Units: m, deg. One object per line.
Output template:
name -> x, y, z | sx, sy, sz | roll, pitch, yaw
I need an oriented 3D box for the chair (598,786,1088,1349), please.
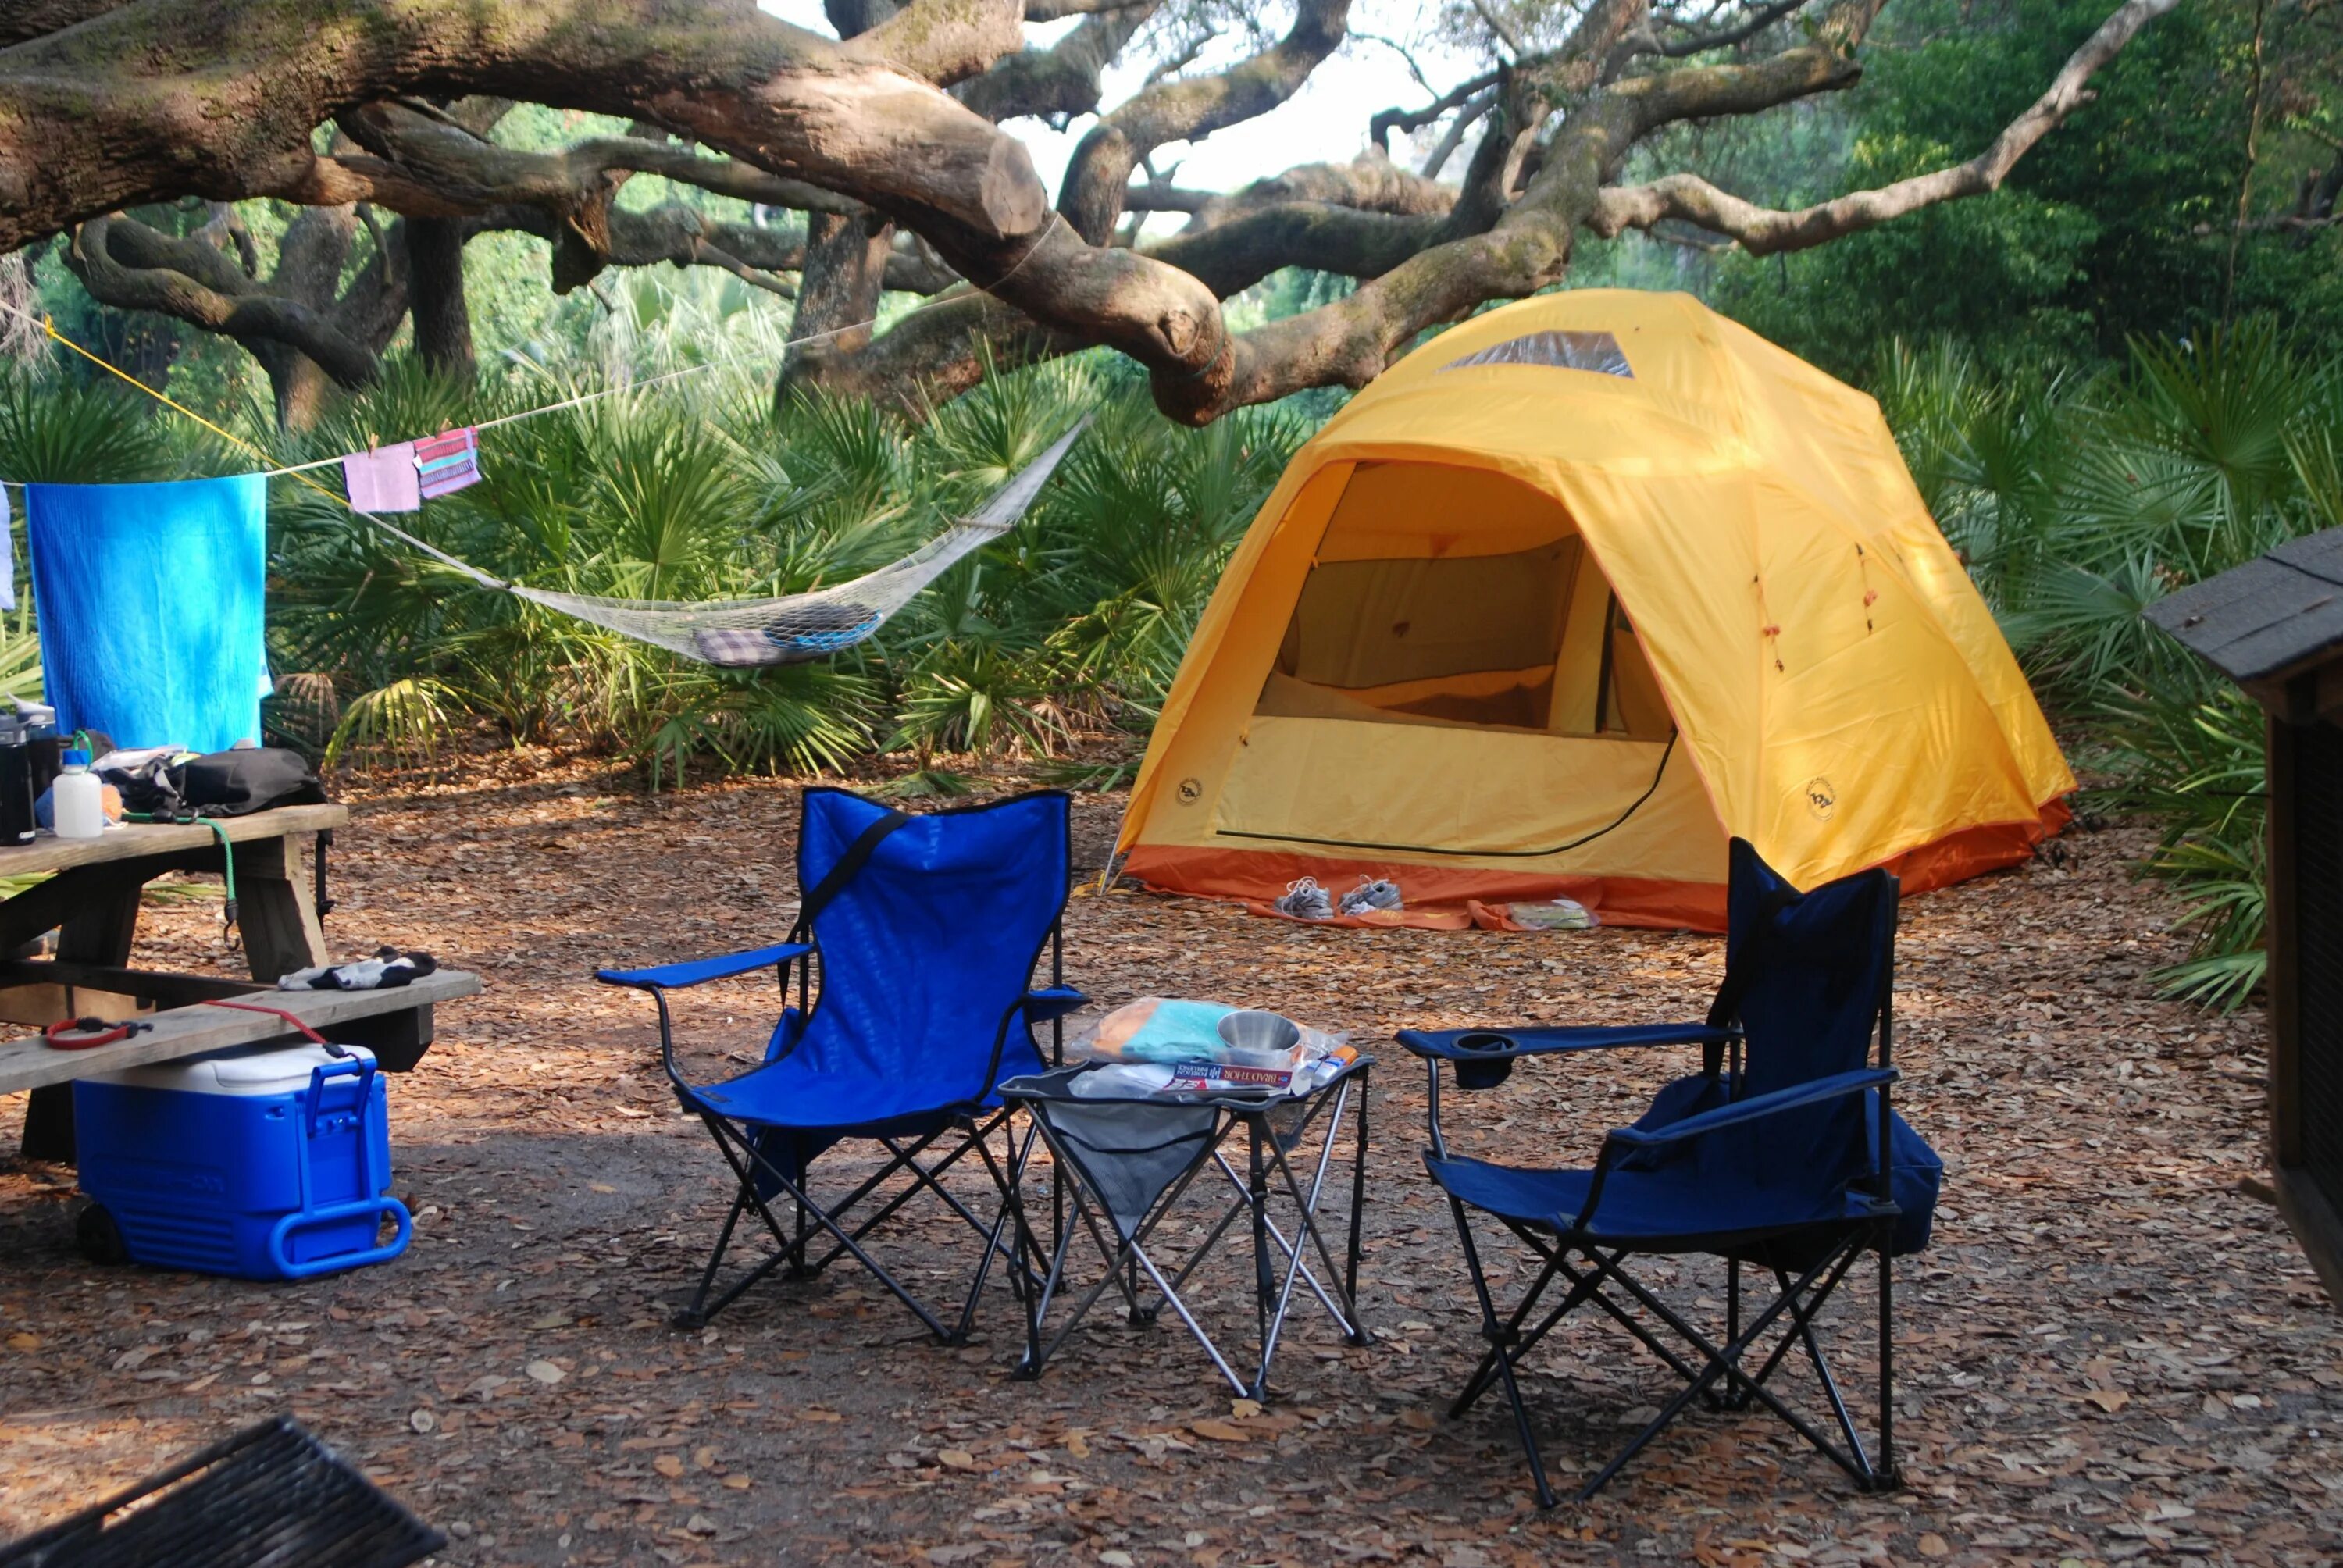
chair -> -0.798, 0.665, 5.642 | 1.803, 1.288, 1.272 | 2, 8, 15

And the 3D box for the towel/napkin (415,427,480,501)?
towel/napkin -> -3.292, -1.456, 9.130 | 0.214, 0.290, 0.387 | 1, 20, -4

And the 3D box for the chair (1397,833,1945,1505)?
chair -> 1.196, 0.852, 4.692 | 1.085, 1.296, 1.160 | 7, 22, 11

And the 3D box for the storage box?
storage box -> -2.455, 0.989, 5.488 | 0.931, 0.466, 0.572 | 3, 3, 29
